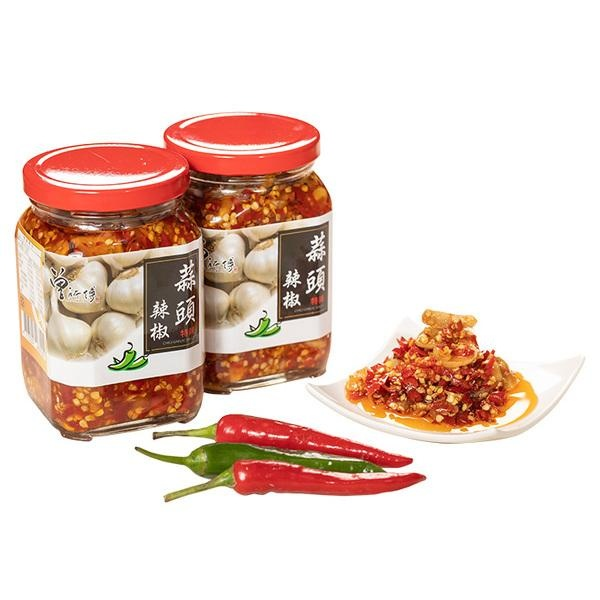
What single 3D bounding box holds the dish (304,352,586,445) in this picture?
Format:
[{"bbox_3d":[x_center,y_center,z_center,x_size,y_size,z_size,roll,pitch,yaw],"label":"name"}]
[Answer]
[{"bbox_3d":[0.704,0.491,3.614,0.773,0.159,0.809,3,14,22],"label":"dish"}]
